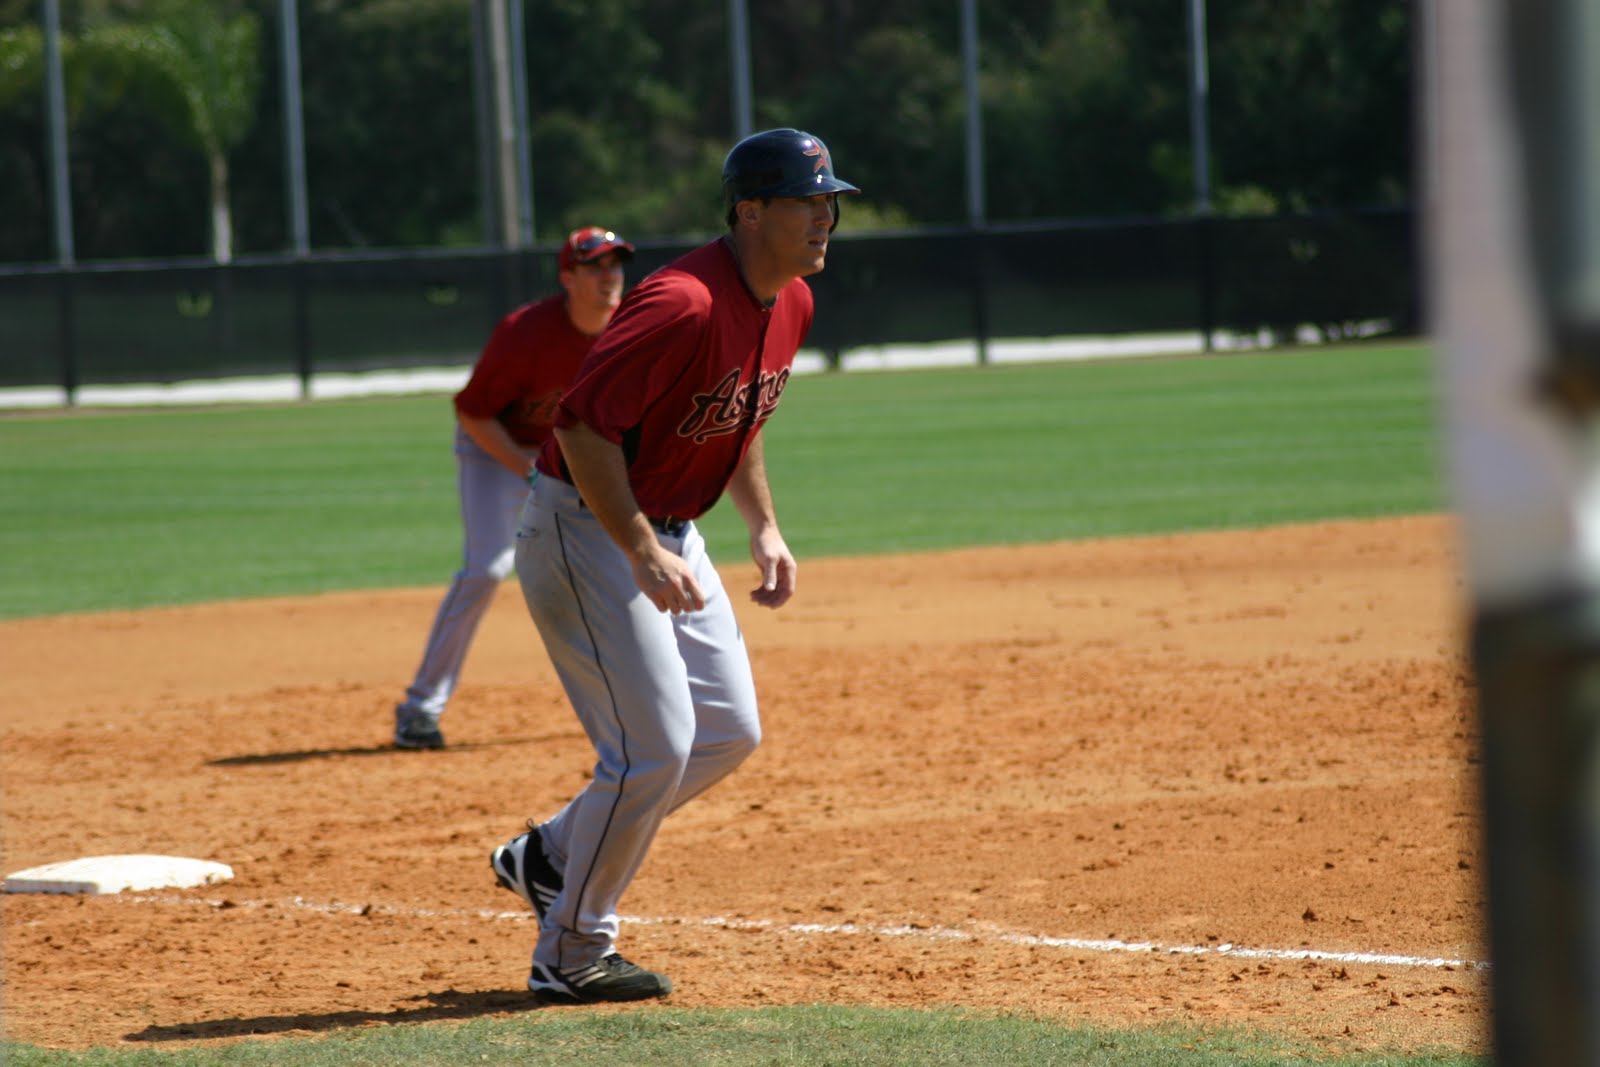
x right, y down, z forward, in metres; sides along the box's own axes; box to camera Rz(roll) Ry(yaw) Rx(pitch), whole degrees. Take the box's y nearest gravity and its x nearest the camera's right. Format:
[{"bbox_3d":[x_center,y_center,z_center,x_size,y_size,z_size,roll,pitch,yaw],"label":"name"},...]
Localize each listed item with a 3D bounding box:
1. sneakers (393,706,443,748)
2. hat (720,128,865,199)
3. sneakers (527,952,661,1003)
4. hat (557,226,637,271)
[{"bbox_3d":[-2.026,1.036,17.089,0.265,0.182,0.162,-8,-14,42],"label":"sneakers"},{"bbox_3d":[-0.089,-1.671,14.472,0.442,0.220,0.329,-3,8,14],"label":"hat"},{"bbox_3d":[-0.935,1.990,14.644,0.635,0.297,0.223,-1,2,-8],"label":"sneakers"},{"bbox_3d":[-1.105,-1.446,16.460,0.326,0.166,0.231,-15,-1,28],"label":"hat"}]
